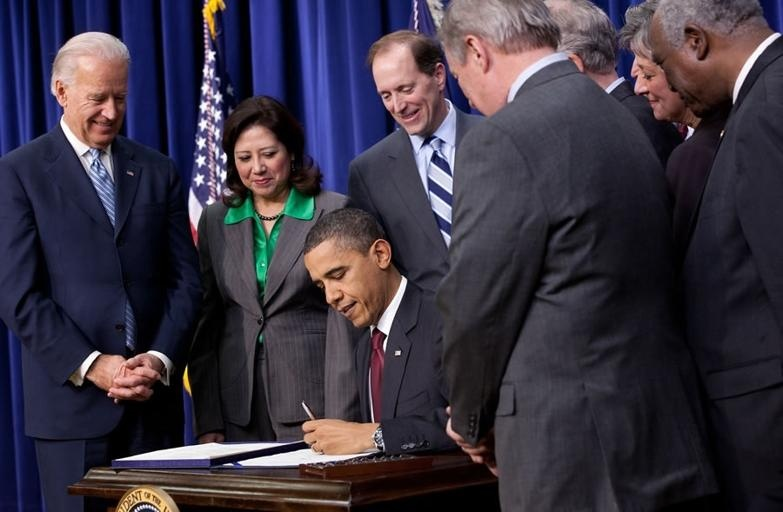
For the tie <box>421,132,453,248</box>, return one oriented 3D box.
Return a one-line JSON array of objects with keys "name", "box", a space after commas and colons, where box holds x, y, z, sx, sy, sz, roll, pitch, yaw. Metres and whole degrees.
[{"name": "tie", "box": [0.182, -0.257, 3.151, 0.083, 0.450, 0.035, -15, -22, 10]}]
